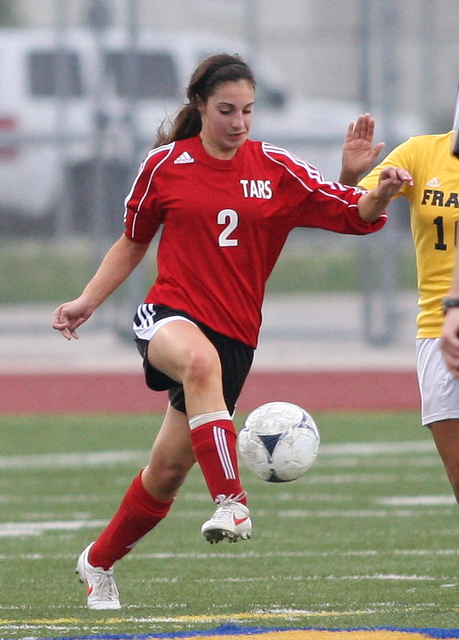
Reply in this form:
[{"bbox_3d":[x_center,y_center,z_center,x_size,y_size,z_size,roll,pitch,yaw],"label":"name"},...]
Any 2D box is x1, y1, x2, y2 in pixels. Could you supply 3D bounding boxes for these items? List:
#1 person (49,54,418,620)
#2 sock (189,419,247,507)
[{"bbox_3d":[-0.052,0.073,3.665,1.180,1.924,0.776,0,-1,3],"label":"person"},{"bbox_3d":[-0.026,0.469,3.391,0.158,0.304,0.117,-11,-2,-27],"label":"sock"}]
